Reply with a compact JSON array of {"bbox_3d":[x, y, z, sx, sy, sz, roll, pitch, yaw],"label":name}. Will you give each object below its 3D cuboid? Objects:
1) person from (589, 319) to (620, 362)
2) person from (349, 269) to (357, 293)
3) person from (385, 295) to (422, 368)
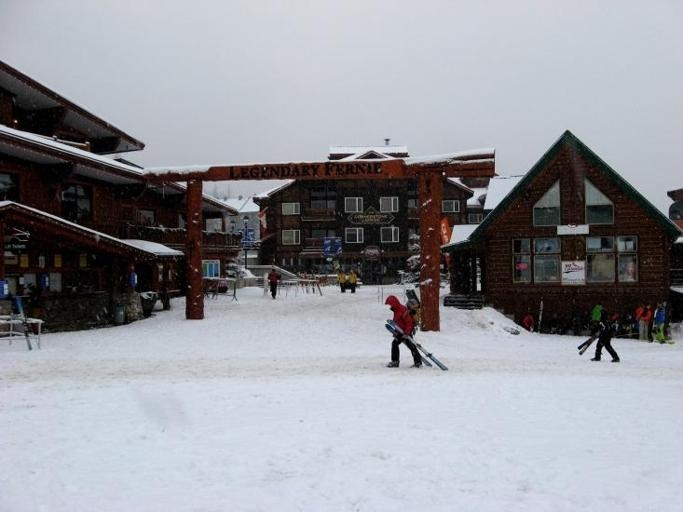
[{"bbox_3d":[9.107,2.794,28.963,0.824,1.638,2.728,4,7,19],"label":"person"},{"bbox_3d":[0.565,1.573,49.681,0.343,1.217,0.831,1,7,-2],"label":"person"},{"bbox_3d":[1.901,2.317,25.823,1.103,2.222,1.284,2,7,5],"label":"person"}]
